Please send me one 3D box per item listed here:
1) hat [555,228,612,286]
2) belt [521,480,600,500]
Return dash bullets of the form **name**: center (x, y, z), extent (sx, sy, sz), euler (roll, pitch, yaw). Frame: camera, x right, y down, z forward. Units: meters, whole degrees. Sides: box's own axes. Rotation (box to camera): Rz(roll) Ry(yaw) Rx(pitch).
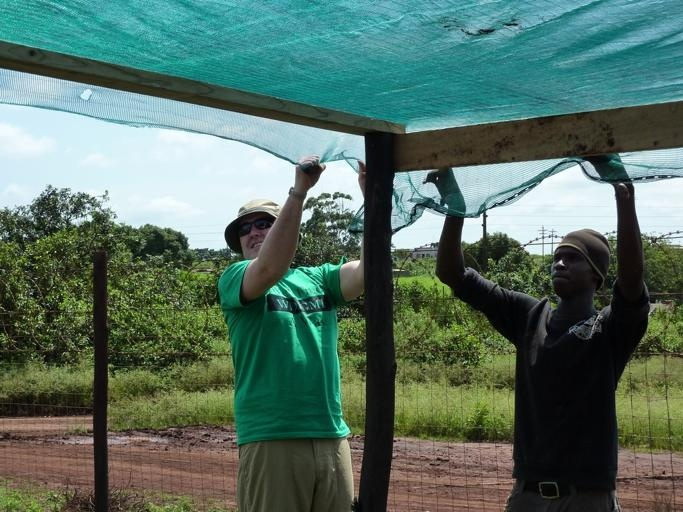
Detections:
- **hat**: center (1.349, 0.018, 3.960), extent (0.184, 0.229, 0.257), euler (1, -48, 46)
- **belt**: center (1.155, 1.252, 3.785), extent (0.439, 0.105, 0.075), euler (-4, -8, 30)
